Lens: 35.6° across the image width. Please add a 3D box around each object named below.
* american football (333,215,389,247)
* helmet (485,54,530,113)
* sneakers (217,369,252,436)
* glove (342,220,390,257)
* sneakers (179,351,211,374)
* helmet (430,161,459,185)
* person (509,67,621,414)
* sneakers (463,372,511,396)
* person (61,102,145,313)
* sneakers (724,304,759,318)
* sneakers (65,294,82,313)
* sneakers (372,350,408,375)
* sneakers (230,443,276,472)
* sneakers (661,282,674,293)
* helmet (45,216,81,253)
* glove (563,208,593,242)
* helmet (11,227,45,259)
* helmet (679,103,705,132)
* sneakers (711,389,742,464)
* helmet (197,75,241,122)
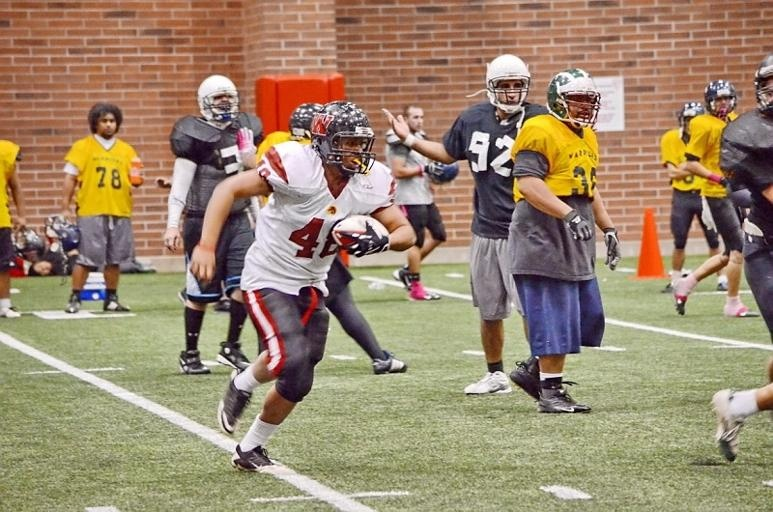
[{"bbox_3d":[-0.171,-0.157,7.537,0.251,0.138,0.218,0,-1,7],"label":"american football"},{"bbox_3d":[0.938,-1.370,9.501,0.376,0.397,0.448,-2,13,-5],"label":"helmet"},{"bbox_3d":[-0.999,0.986,8.092,0.206,0.479,0.169,-3,-8,25],"label":"sneakers"},{"bbox_3d":[-0.128,-0.116,7.525,0.289,0.200,0.206,-3,-1,13],"label":"glove"},{"bbox_3d":[-1.636,0.922,10.339,0.133,0.131,0.328,2,1,-37],"label":"sneakers"},{"bbox_3d":[0.699,-0.975,14.157,0.320,0.273,0.234,2,-6,13],"label":"helmet"},{"bbox_3d":[1.317,-0.112,8.907,0.794,2.554,0.653,-1,3,-3],"label":"person"},{"bbox_3d":[0.748,1.027,9.587,0.447,0.180,0.145,-1,-1,-12],"label":"sneakers"},{"bbox_3d":[-3.255,-0.562,13.812,0.846,2.376,0.822,-1,4,-15],"label":"person"},{"bbox_3d":[3.709,0.577,12.667,0.282,0.102,0.147,-1,2,10],"label":"sneakers"},{"bbox_3d":[-3.542,0.538,13.630,0.150,0.204,0.192,-1,4,-13],"label":"sneakers"},{"bbox_3d":[0.020,0.904,10.244,0.208,0.103,0.233,4,0,-36],"label":"sneakers"},{"bbox_3d":[-0.867,1.314,7.860,0.336,0.148,0.117,5,4,-4],"label":"sneakers"},{"bbox_3d":[3.433,0.402,14.765,0.082,0.089,0.233,7,-6,-5],"label":"sneakers"},{"bbox_3d":[-3.881,-0.274,14.530,0.243,0.351,0.486,-23,49,-41],"label":"helmet"},{"bbox_3d":[1.351,-0.220,8.626,0.189,0.225,0.069,-34,9,-28],"label":"glove"},{"bbox_3d":[-4.890,-0.172,16.591,0.539,0.253,0.679,0,-2,-7],"label":"helmet"},{"bbox_3d":[3.665,-1.700,14.647,0.392,0.404,0.474,-1,4,8],"label":"helmet"},{"bbox_3d":[2.196,1.107,7.729,0.213,0.448,0.162,2,14,31],"label":"sneakers"},{"bbox_3d":[-1.417,-1.389,10.522,0.346,0.361,0.422,-8,20,-28],"label":"helmet"}]
